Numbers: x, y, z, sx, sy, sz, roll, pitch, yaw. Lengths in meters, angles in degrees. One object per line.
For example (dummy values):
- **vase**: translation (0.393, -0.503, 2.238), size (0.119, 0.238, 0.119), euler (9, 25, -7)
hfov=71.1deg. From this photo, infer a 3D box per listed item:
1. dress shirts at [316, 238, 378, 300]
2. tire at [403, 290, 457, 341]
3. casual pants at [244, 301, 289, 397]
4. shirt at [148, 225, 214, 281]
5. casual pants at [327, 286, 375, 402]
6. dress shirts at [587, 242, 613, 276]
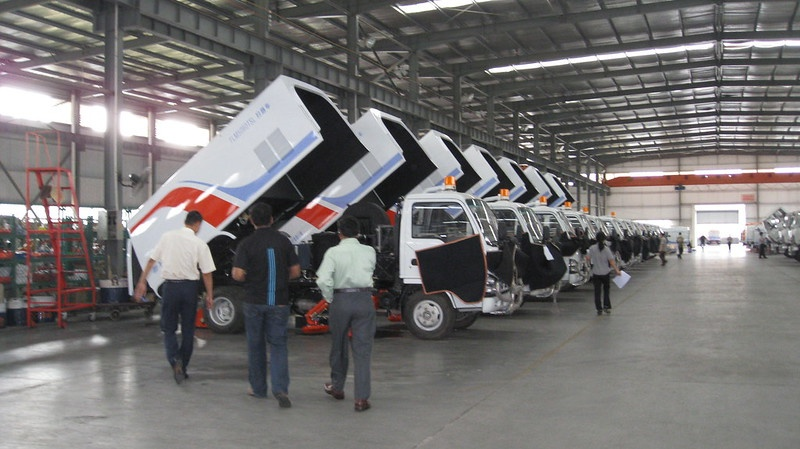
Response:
- **dress shirts**: translation (-0.920, 0.745, 9.639), size (0.613, 0.940, 1.369), euler (8, 10, 39)
- **tire**: translation (0.702, 2.203, 13.718), size (1.425, 1.205, 0.525), euler (2, 3, 26)
- **casual pants**: translation (-2.311, 2.175, 9.683), size (0.726, 1.625, 0.535), euler (0, -4, -10)
- **shirt**: translation (-4.075, 0.640, 10.727), size (1.510, 0.992, 0.758), euler (9, 10, 18)
- **casual pants**: translation (-0.836, 2.029, 9.489), size (0.815, 1.842, 0.506), euler (-2, -4, 19)
- **dress shirts**: translation (5.961, 1.085, 17.136), size (0.847, 0.816, 0.483), euler (4, -17, -3)
